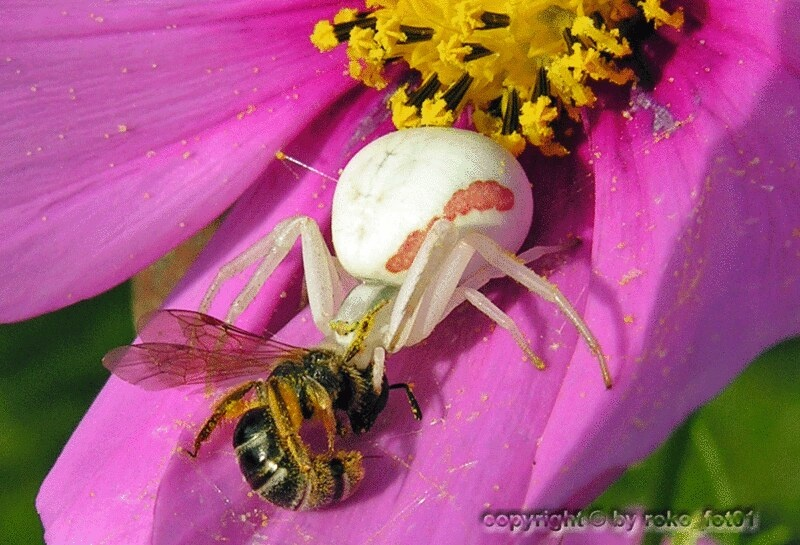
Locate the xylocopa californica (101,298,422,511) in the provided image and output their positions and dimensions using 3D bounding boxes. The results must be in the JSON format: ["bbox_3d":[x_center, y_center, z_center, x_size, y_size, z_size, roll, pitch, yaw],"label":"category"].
[{"bbox_3d":[-0.151,0.138,1.131,0.247,0.364,0.418,-2,18,17],"label":"xylocopa californica"}]

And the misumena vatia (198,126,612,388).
[{"bbox_3d":[0.001,-0.043,1.023,0.447,0.296,0.191,19,-25,34],"label":"misumena vatia"}]
